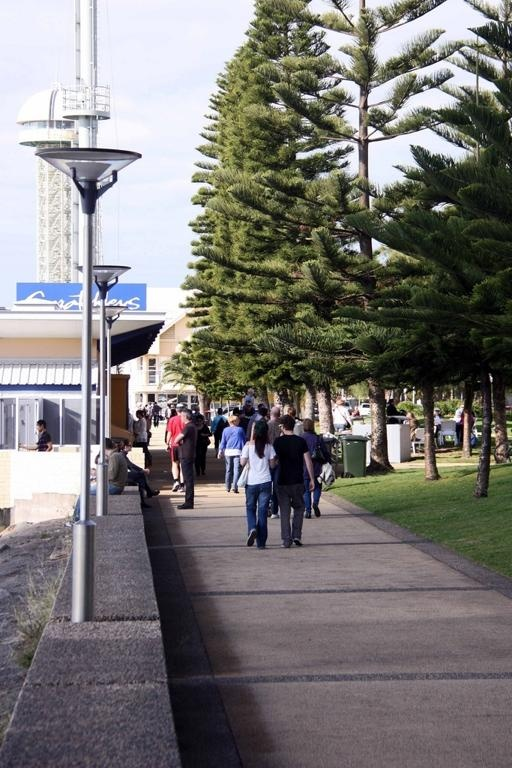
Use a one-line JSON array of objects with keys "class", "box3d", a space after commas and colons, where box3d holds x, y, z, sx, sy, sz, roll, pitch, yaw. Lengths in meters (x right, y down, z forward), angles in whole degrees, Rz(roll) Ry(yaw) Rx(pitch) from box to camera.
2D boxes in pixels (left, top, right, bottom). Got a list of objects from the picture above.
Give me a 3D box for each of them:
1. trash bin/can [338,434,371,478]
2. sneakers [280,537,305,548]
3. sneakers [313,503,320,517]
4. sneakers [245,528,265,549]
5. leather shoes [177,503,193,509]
[{"class": "trash bin/can", "box3d": [2.090, 1.583, 20.011, 0.750, 1.102, 0.819, 0, -4, -5]}, {"class": "sneakers", "box3d": [0.446, 1.850, 10.769, 0.220, 0.080, 0.360, 1, 0, 15]}, {"class": "sneakers", "box3d": [0.897, 1.871, 13.604, 0.078, 0.203, 0.089, -17, -2, 1]}, {"class": "sneakers", "box3d": [-0.010, 1.776, 10.750, 0.212, 0.196, 0.321, 1, 0, -14]}, {"class": "leather shoes", "box3d": [-1.126, 1.955, 14.766, 0.259, 0.086, 0.237, 1, 0, 4]}]
